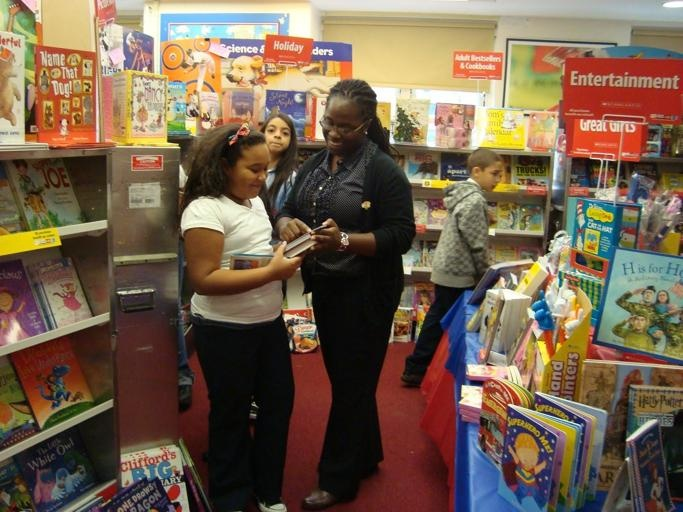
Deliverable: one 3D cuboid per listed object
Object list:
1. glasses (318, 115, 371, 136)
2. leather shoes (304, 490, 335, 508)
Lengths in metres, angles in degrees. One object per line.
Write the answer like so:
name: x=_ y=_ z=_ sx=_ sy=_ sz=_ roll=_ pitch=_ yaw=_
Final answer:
glasses: x=0.012 y=-0.603 z=2.365 sx=0.221 sy=0.076 sz=0.126 roll=2 pitch=12 yaw=-1
leather shoes: x=-0.115 y=1.266 z=2.662 sx=0.148 sy=0.057 sz=0.084 roll=5 pitch=-3 yaw=-25
